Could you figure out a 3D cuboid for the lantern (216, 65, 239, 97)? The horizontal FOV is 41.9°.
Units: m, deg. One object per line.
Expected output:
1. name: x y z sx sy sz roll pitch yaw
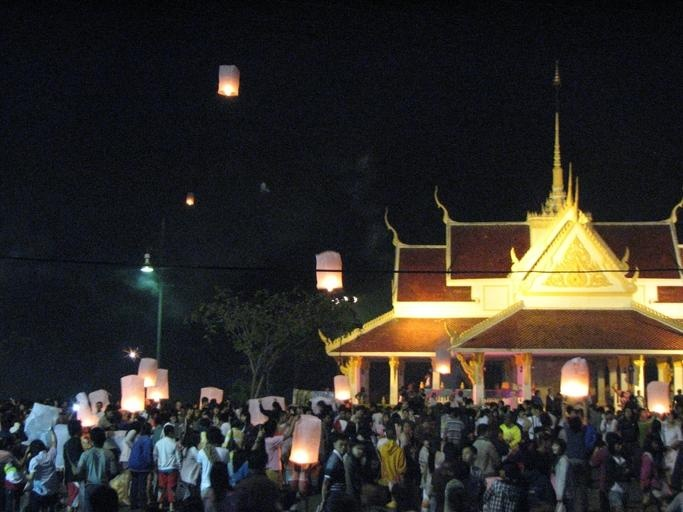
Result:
1. lantern: -4.927 -7.615 38.813 0.809 1.189 1.491 3 -13 -3
